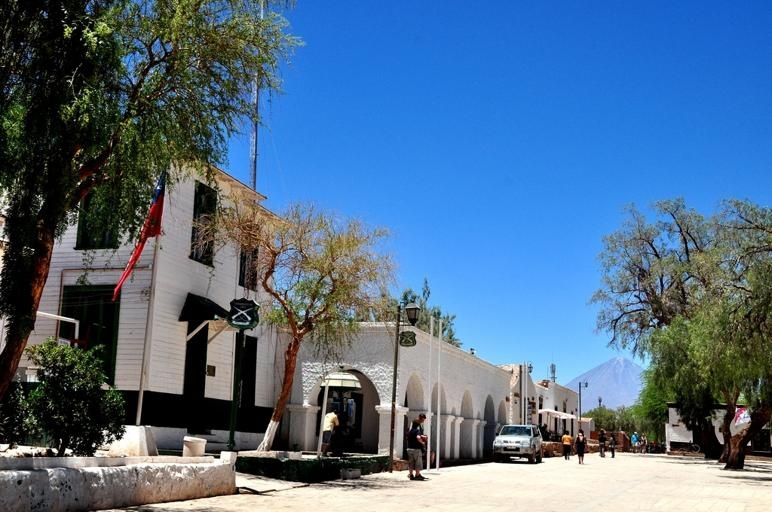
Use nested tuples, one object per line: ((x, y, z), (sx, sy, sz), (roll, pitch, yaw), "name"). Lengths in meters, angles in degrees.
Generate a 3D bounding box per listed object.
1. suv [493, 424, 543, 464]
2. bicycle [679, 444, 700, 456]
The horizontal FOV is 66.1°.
((8.150, 11.364, 36.366), (2.258, 2.326, 3.767), (-9, -22, 34), "suv")
((26.070, 16.509, 50.839), (1.308, 0.874, 0.699), (-9, -20, 9), "bicycle")
